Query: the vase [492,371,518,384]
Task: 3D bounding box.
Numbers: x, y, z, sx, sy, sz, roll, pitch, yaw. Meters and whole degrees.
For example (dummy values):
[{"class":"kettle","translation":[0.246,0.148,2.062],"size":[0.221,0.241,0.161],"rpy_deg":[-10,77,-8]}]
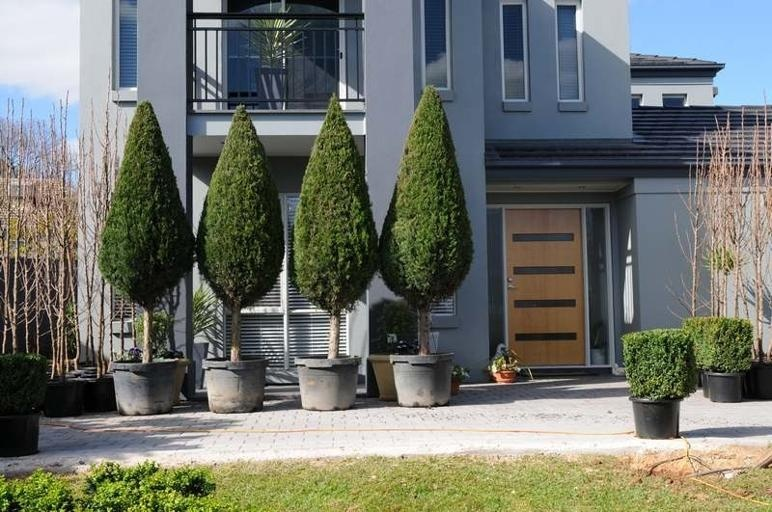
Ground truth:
[{"class":"vase","translation":[2.200,2.282,18.437],"size":[0.450,0.250,0.257],"rpy_deg":[-2,-4,5]}]
